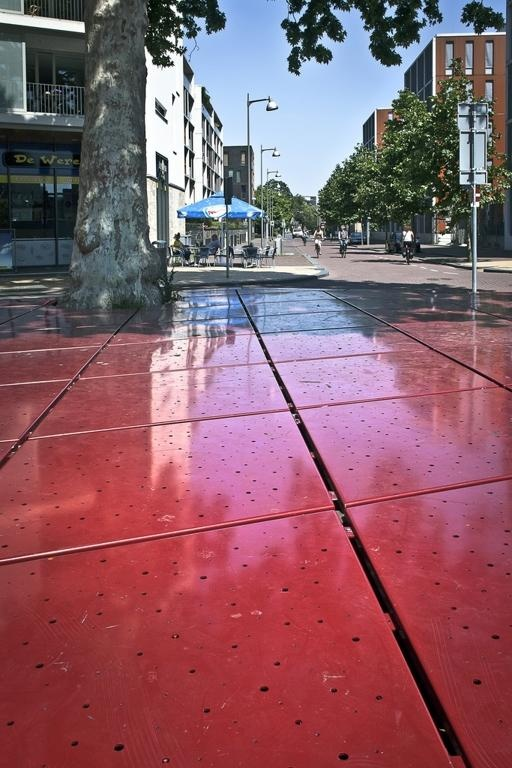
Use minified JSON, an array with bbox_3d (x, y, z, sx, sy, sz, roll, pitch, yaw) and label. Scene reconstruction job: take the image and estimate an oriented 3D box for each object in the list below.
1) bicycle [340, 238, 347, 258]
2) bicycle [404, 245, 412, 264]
[{"bbox_3d":[6.970,-10.774,43.176,0.458,1.656,1.445,-1,4,3],"label":"bicycle"},{"bbox_3d":[9.725,-8.262,34.556,0.356,1.288,0.654,-1,4,7],"label":"bicycle"}]
